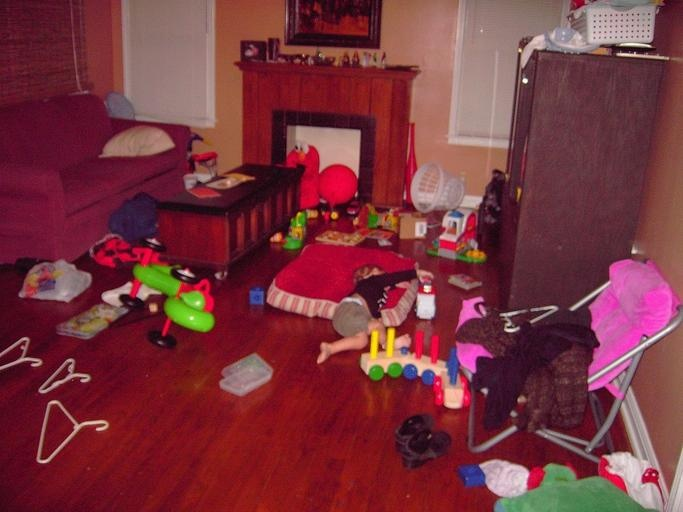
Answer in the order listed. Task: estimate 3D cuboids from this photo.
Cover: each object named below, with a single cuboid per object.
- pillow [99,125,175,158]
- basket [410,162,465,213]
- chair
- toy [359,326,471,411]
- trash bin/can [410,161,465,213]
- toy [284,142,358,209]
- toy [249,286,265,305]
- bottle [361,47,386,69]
[{"bbox_3d":[-2.125,-1.179,5.563,0.460,0.156,0.424,-12,34,-12],"label":"pillow"},{"bbox_3d":[0.958,-0.646,5.373,0.322,0.557,0.605,19,28,35],"label":"basket"},{"bbox_3d":[1.099,0.584,2.665,0.815,0.808,1.016,9,36,23],"label":"chair"},{"bbox_3d":[0.430,0.675,3.070,0.437,0.231,0.492,-5,22,-9],"label":"toy"},{"bbox_3d":[0.959,-0.645,5.375,0.322,0.561,0.609,19,28,35],"label":"trash bin/can"},{"bbox_3d":[-0.250,-0.918,5.995,0.784,0.624,0.580,-1,27,-10],"label":"toy"},{"bbox_3d":[-0.630,0.286,3.947,0.108,0.095,0.115,3,12,13],"label":"toy"},{"bbox_3d":[0.354,-2.217,6.008,0.258,0.212,0.278,1,32,-1],"label":"bottle"}]
